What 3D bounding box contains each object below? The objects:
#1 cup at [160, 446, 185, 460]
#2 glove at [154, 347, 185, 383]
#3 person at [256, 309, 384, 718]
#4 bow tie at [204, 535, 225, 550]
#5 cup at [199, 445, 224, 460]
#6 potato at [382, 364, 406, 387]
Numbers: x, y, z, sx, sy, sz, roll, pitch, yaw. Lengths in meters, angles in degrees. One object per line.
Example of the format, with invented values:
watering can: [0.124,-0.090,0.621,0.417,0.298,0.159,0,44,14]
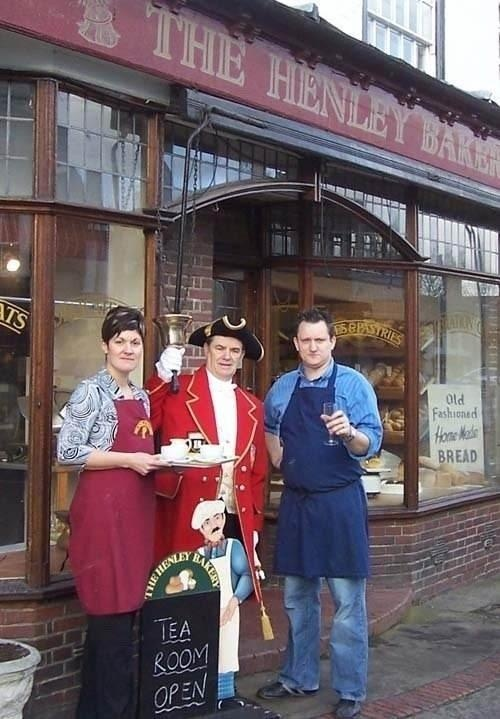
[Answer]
cup: [-0.287,0.357,2.795,0.105,0.055,0.091,0,-1,-20]
glove: [-0.367,0.014,3.309,0.121,0.164,0.051,-1,9,-31]
person: [0.381,0.750,3.595,0.556,2.007,0.811,0,-1,-20]
bow tie: [-0.154,0.836,3.256,0.113,0.057,0.015,0,-1,-40]
cup: [-0.156,0.375,2.957,0.090,0.052,0.066,0,-1,-13]
potato: [1.239,0.144,6.213,0.182,0.066,0.182,0,29,-13]
